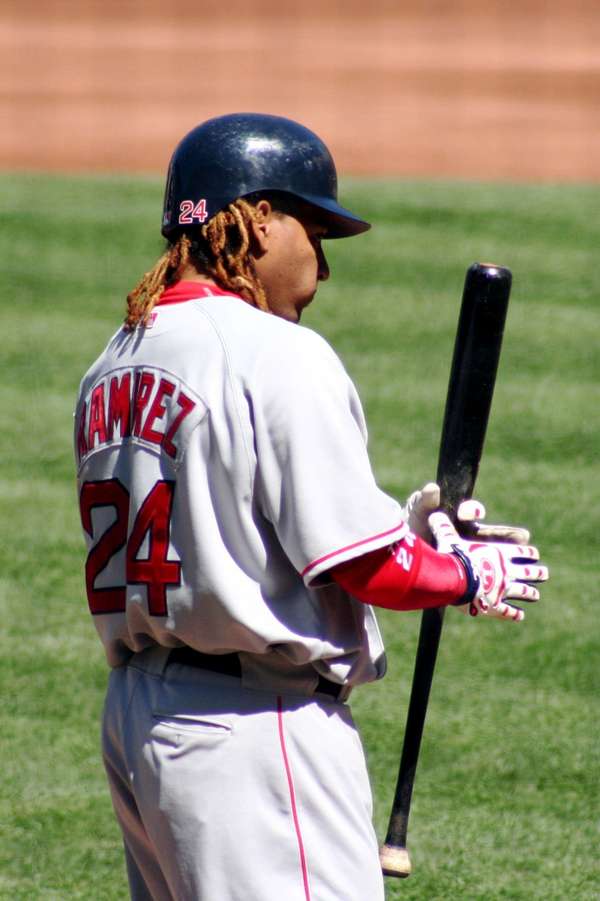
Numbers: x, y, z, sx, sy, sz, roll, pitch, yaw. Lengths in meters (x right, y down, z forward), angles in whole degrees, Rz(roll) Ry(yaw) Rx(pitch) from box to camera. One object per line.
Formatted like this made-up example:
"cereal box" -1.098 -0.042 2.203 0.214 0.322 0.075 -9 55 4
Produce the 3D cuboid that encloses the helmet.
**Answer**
"helmet" -0.150 -0.825 6.487 0.492 0.260 0.352 -1 -2 -6
